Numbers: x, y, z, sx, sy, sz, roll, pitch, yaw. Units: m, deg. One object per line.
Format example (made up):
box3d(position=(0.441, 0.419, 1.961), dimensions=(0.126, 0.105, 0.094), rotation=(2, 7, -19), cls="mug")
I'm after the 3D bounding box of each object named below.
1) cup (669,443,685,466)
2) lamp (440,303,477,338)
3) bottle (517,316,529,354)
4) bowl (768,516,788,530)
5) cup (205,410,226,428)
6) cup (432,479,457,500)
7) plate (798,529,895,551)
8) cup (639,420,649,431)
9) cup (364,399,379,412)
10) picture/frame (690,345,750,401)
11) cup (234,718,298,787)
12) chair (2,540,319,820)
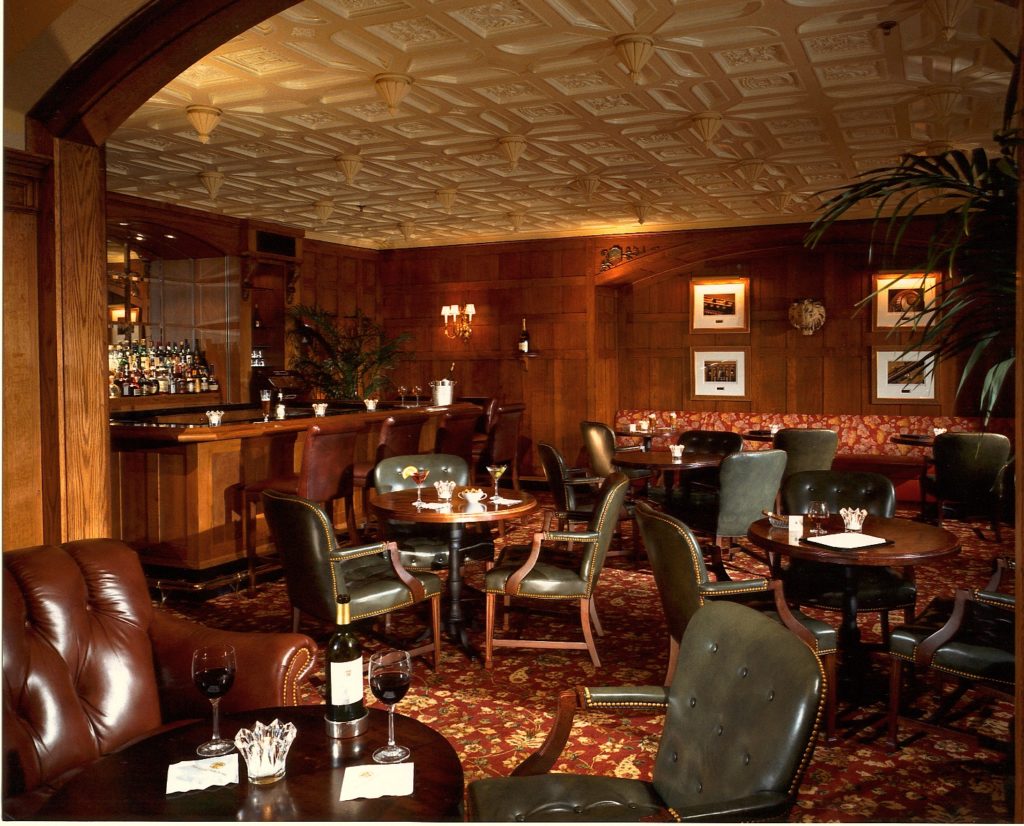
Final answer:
box3d(position=(1.479, 0.363, 6.634), dimensions=(0.221, 0.164, 0.123), rotation=(-1, 0, -5), cls="cup")
box3d(position=(-0.822, -1.362, 10.985), dimensions=(0.586, 0.521, 0.315), rotation=(1, 5, 13), cls="lamp")
box3d(position=(0.153, -1.094, 10.627), dimensions=(0.169, 0.574, 0.156), rotation=(0, 5, 0), cls="bottle")
box3d(position=(1.422, 0.586, 4.000), dimensions=(0.079, 0.026, 0.067), rotation=(-1, 3, -41), cls="bowl")
box3d(position=(-2.600, 0.052, 6.493), dimensions=(0.212, 0.097, 0.215), rotation=(-3, 1, 0), cls="cup")
box3d(position=(-0.437, 0.478, 4.649), dimensions=(0.154, 0.101, 0.137), rotation=(0, -3, 15), cls="cup")
box3d(position=(1.625, 0.613, 3.618), dimensions=(0.352, 0.023, 0.402), rotation=(2, 4, 30), cls="plate")
box3d(position=(1.493, 0.144, 8.381), dimensions=(0.116, 0.083, 0.105), rotation=(1, -1, -30), cls="cup")
box3d(position=(-1.519, -0.080, 7.959), dimensions=(0.204, 0.131, 0.183), rotation=(-1, 0, 17), cls="cup")
box3d(position=(2.856, -0.552, 10.118), dimensions=(0.967, 0.728, 0.067), rotation=(1, 6, 28), cls="picture/frame")
box3d(position=(-0.663, 0.902, 2.002), dimensions=(0.185, 0.100, 0.141), rotation=(1, -6, -11), cls="cup")
box3d(position=(-1.272, 0.837, 2.716), dimensions=(0.932, 0.825, 0.851), rotation=(-2, -4, 19), cls="chair")
